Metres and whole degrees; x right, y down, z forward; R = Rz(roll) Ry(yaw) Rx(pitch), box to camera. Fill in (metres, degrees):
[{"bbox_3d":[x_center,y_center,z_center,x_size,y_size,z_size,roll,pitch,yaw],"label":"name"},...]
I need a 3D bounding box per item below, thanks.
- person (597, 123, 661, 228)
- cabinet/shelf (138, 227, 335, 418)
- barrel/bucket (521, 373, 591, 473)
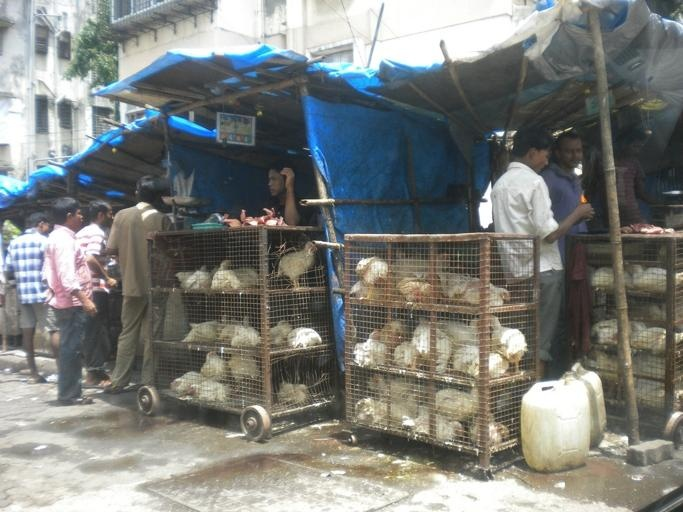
[{"bbox_3d":[3.490,-0.935,8.671,0.616,1.278,1.006,-1,11,7],"label":"person"},{"bbox_3d":[-1.014,0.744,8.491,2.482,2.459,2.037,-3,-5,39],"label":"cabinet/shelf"},{"bbox_3d":[1.936,1.555,6.318,0.874,0.915,0.483,0,-3,-22],"label":"barrel/bucket"}]
